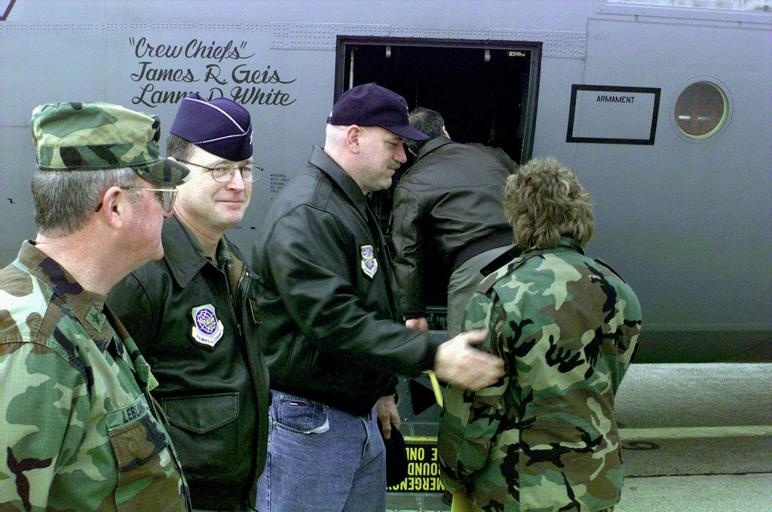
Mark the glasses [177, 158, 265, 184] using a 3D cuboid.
[{"bbox_3d":[-0.823,-0.413,4.021,0.235,0.066,0.234,-3,-1,40],"label":"glasses"}]

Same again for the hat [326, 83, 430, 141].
[{"bbox_3d":[-0.031,-0.789,4.575,0.573,0.311,0.420,6,11,0],"label":"hat"}]

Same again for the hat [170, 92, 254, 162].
[{"bbox_3d":[-0.837,-0.640,4.141,0.399,0.228,0.302,25,12,9],"label":"hat"}]

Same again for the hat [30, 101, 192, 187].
[{"bbox_3d":[-1.193,-0.483,3.595,0.664,0.366,0.447,-3,5,-21],"label":"hat"}]
